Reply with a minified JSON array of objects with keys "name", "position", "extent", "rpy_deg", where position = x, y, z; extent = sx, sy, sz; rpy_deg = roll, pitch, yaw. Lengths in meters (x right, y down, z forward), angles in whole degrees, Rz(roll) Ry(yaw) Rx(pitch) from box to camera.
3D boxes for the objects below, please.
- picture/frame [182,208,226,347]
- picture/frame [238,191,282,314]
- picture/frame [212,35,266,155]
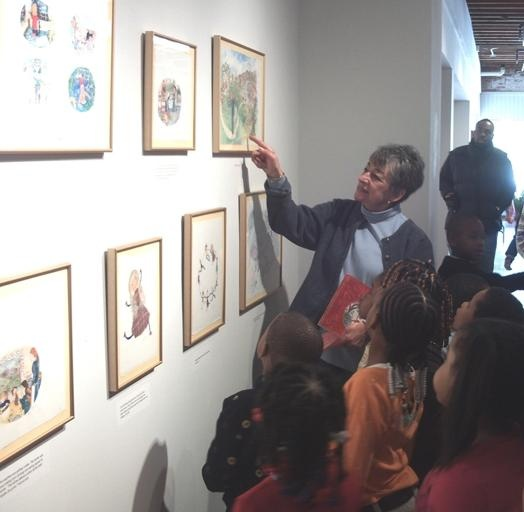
[{"name":"picture/frame","position":[-0.233,0.064,1.758],"extent":[0.047,0.639,0.388],"rpy_deg":[4,12,20]},{"name":"picture/frame","position":[-0.019,-0.037,2.194],"extent":[0.031,0.568,0.496],"rpy_deg":[1,4,21]},{"name":"picture/frame","position":[-0.108,-0.693,1.983],"extent":[0.038,0.455,0.433],"rpy_deg":[7,15,24]}]
